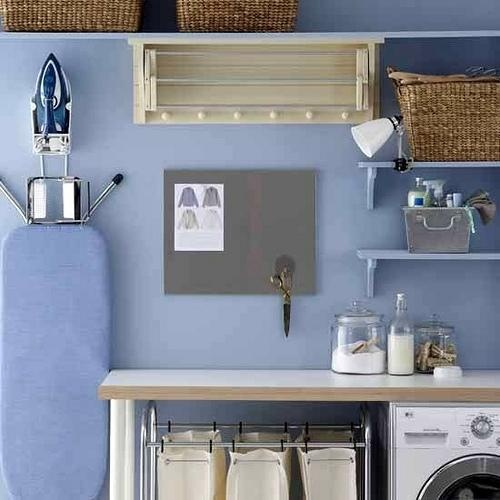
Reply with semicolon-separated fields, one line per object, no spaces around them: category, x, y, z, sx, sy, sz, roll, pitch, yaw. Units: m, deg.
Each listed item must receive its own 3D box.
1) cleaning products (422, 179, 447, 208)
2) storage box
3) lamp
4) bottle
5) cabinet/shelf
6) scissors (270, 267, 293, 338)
cleaning products;0.753;-0.245;4.089;0.143;0.143;0.087;-1;4;-1
storage box;0.807;-0.081;4.041;0.302;0.183;0.227;0;-2;36
lamp;0.568;-0.445;3.929;0.120;0.252;0.217;-3;-3;-29
bottle;0.564;0.367;4.012;0.531;0.339;0.268;0;-5;6
cabinet/shelf;0.735;-0.114;4.113;0.587;0.514;0.180;0;0;0
scissors;0.135;0.219;4.163;0.096;0.298;0.060;1;-3;-23
